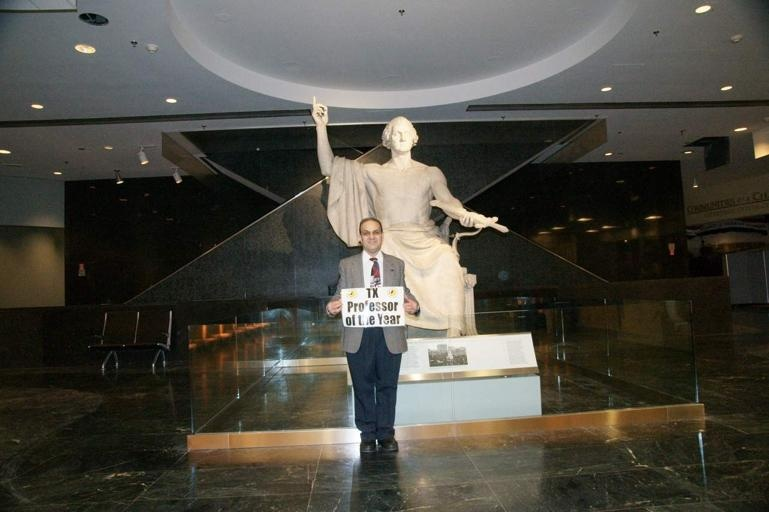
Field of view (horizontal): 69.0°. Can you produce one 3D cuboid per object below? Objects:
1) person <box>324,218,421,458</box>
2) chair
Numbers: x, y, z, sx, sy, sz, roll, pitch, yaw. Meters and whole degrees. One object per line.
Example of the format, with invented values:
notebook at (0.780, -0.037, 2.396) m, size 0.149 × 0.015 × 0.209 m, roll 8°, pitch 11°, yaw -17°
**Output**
person at (-0.095, 0.744, 5.333) m, size 0.817 × 2.196 × 0.441 m, roll -1°, pitch -7°, yaw -1°
chair at (-4.528, 1.447, 10.098) m, size 1.485 × 1.076 × 1.225 m, roll 0°, pitch -7°, yaw -3°
